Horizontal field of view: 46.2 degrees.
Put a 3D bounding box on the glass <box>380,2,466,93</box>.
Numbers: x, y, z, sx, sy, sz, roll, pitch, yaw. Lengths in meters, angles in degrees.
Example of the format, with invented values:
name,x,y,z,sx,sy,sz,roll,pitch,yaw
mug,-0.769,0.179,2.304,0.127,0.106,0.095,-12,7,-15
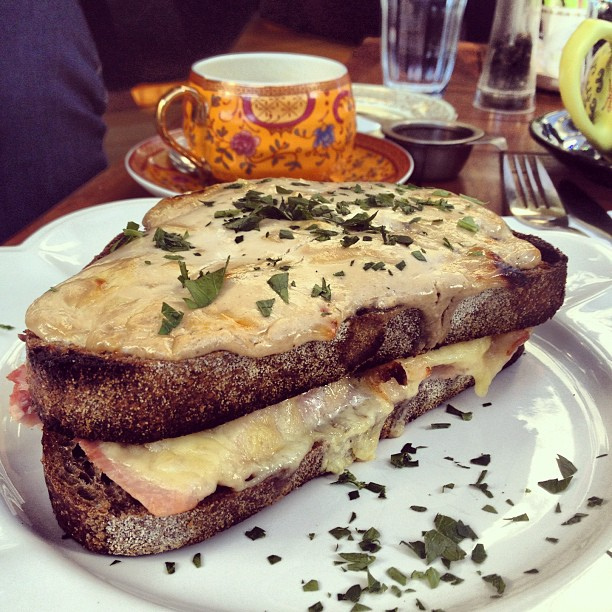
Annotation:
name,x,y,z,sx,sy,sz,roll,pitch,yaw
glass,0.609,-1.399,3.880,0.401,0.541,0.282,6,57,9

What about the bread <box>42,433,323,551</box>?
name,x,y,z,sx,sy,sz,roll,pitch,yaw
bread,-0.288,0.434,1.600,0.486,0.073,0.307,-11,23,-29
